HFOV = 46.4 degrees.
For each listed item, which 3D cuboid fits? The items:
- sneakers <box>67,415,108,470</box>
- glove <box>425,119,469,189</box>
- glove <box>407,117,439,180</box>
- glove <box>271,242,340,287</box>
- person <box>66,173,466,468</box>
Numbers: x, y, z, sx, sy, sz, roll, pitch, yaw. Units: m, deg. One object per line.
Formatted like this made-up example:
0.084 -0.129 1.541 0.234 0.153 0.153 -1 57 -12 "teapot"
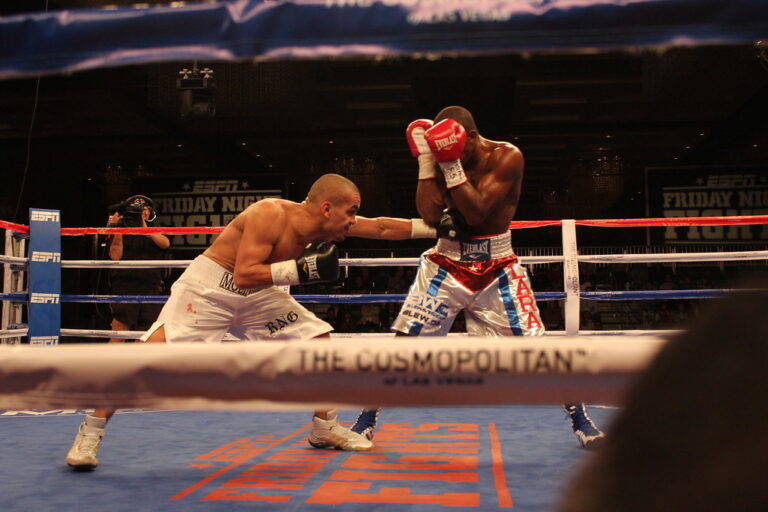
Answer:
-1.559 0.976 4.712 0.218 0.257 0.245 -4 5 -30 "sneakers"
0.338 -0.550 4.779 0.216 0.369 0.123 -1 5 2 "glove"
0.179 -0.593 4.994 0.123 0.293 0.245 -18 5 33 "glove"
-0.410 0.052 4.714 0.296 0.094 0.260 -4 -35 -3 "glove"
-0.587 0.325 4.917 2.163 1.351 0.657 3 -9 15 "person"
